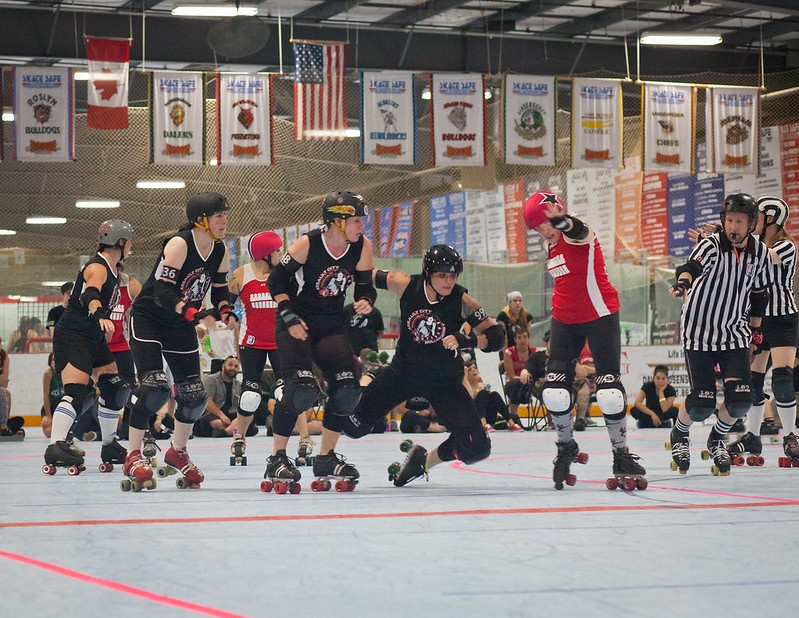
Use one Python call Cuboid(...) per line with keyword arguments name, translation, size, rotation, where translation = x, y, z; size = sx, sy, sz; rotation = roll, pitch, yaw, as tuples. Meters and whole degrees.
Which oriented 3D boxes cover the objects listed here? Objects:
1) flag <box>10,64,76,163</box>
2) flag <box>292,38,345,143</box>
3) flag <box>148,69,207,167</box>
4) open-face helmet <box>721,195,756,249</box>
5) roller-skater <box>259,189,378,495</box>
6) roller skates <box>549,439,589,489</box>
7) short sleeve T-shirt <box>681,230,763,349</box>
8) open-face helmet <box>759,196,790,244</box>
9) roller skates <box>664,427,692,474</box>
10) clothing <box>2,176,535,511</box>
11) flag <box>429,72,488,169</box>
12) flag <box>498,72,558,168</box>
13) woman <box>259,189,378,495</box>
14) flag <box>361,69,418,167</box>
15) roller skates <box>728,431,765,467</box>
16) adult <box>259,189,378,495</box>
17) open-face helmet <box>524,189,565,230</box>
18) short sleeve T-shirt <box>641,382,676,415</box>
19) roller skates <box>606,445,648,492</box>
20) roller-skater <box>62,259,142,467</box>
Cuboid(name="flag", translation=(-5.182, -2.821, 17.772), size=(0.835, 1.363, 0.294), rotation=(-2, 2, -17))
Cuboid(name="flag", translation=(-1.189, -3.277, 18.306), size=(0.764, 1.411, 0.470), rotation=(-2, 2, -6))
Cuboid(name="flag", translation=(-3.271, -2.812, 17.998), size=(0.787, 1.390, 0.343), rotation=(-2, 2, -10))
Cuboid(name="open-face helmet", translation=(2.983, -0.776, 10.707), size=(0.311, 0.469, 0.273), rotation=(-1, 1, 11))
Cuboid(name="roller-skater", translation=(-0.665, 0.264, 9.992), size=(0.949, 2.407, 0.352), rotation=(-1, 2, -2))
Cuboid(name="roller skates", translation=(1.360, 1.272, 10.048), size=(0.186, 0.379, 0.331), rotation=(-1, 1, 13))
Cuboid(name="short sleeve T-shirt", translation=(2.862, -0.146, 10.895), size=(1.229, 1.051, 0.490), rotation=(-2, 2, -28))
Cuboid(name="open-face helmet", translation=(3.615, -0.906, 11.880), size=(0.349, 0.409, 0.291), rotation=(8, 17, 15))
Cuboid(name="roller skates", translation=(2.523, 1.281, 11.018), size=(0.160, 0.408, 0.262), rotation=(-2, -19, 7))
Cuboid(name="clothing", translation=(-1.043, 0.284, 11.347), size=(4.071, 2.912, 1.679), rotation=(1, 2, 6))
Cuboid(name="flag", translation=(0.909, -2.921, 18.919), size=(0.816, 1.439, 0.407), rotation=(-1, 2, 3))
Cuboid(name="flag", translation=(2.018, -2.919, 18.975), size=(0.808, 1.391, 0.336), rotation=(-1, 2, 5))
Cuboid(name="woman", translation=(-0.666, 0.264, 9.990), size=(0.954, 2.407, 0.342), rotation=(-1, 2, -3))
Cuboid(name="flag", translation=(-0.182, -2.928, 18.796), size=(0.853, 1.402, 0.368), rotation=(-1, 2, -2))
Cuboid(name="roller skates", translation=(3.327, 1.354, 11.748), size=(0.491, 0.331, 0.245), rotation=(8, -14, -27))
Cuboid(name="adult", translation=(-0.665, 0.264, 9.992), size=(0.949, 2.407, 0.352), rotation=(-1, 2, -2))
Cuboid(name="open-face helmet", translation=(1.165, -0.850, 10.079), size=(0.344, 0.281, 0.258), rotation=(-39, 17, -36))
Cuboid(name="short sleeve T-shirt", translation=(3.625, 1.268, 17.054), size=(0.634, 0.569, 0.436), rotation=(2, 1, 4))
Cuboid(name="roller skates", translation=(1.843, 1.296, 9.941), size=(0.326, 0.326, 0.282), rotation=(-1, 1, 8))
Cuboid(name="roller-skater", translation=(-2.754, 0.344, 11.880), size=(0.568, 1.650, 0.514), rotation=(-7, 15, -34))
